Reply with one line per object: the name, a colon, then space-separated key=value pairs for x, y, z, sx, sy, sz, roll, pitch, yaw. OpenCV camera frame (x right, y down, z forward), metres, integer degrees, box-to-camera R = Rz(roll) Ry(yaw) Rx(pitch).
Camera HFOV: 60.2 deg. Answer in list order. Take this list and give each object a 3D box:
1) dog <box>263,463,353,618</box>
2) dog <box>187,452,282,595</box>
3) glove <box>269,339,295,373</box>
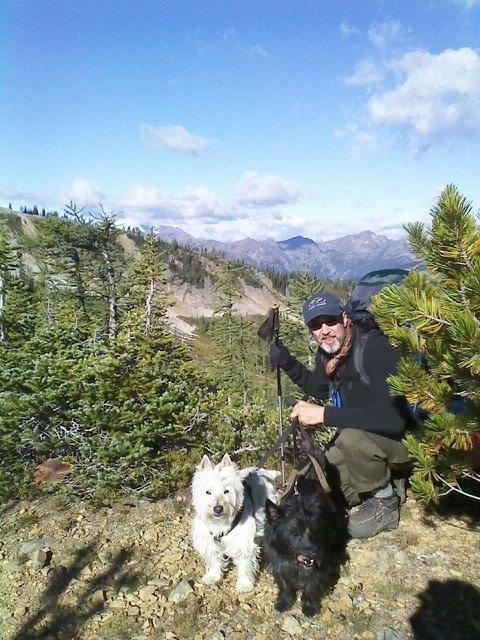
dog: x=0.772 y=2.739 z=5.292 sx=0.889 sy=1.433 sz=1.972 roll=-3 pitch=-3 yaw=3
dog: x=-0.087 y=2.774 z=6.126 sx=0.848 sy=1.668 sz=2.359 roll=-5 pitch=-7 yaw=14
glove: x=0.719 y=0.616 z=7.276 sx=0.186 sy=0.516 sz=0.395 roll=-27 pitch=-6 yaw=13
